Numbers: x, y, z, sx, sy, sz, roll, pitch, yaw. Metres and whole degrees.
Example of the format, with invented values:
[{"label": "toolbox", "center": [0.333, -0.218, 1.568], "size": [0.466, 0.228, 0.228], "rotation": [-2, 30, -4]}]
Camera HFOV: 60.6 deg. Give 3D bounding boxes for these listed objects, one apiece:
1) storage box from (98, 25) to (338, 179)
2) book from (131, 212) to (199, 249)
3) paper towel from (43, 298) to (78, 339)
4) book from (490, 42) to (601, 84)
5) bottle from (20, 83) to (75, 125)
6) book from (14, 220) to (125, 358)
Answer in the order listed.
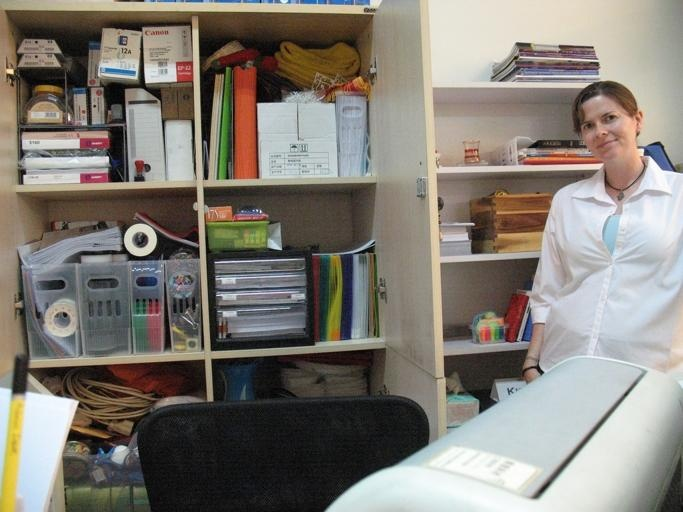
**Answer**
[{"label": "storage box", "center": [-0.501, -0.589, 2.274], "size": [0.597, 0.567, 0.149], "rotation": [0, 5, -4]}, {"label": "book", "center": [-0.693, -0.095, 2.280], "size": [0.236, 0.072, 0.143], "rotation": [24, -5, -22]}, {"label": "paper towel", "center": [-1.019, 0.229, 2.102], "size": [0.129, 0.149, 0.045], "rotation": [4, 7, -7]}, {"label": "book", "center": [0.913, -0.857, 2.607], "size": [0.463, 0.169, 0.170], "rotation": [-1, 4, 13]}, {"label": "bottle", "center": [-1.128, -0.565, 2.247], "size": [0.168, 0.153, 0.123], "rotation": [0, 0, -15]}, {"label": "book", "center": [-0.929, 0.076, 2.289], "size": [0.523, 0.528, 0.396], "rotation": [-1, 2, -13]}]
